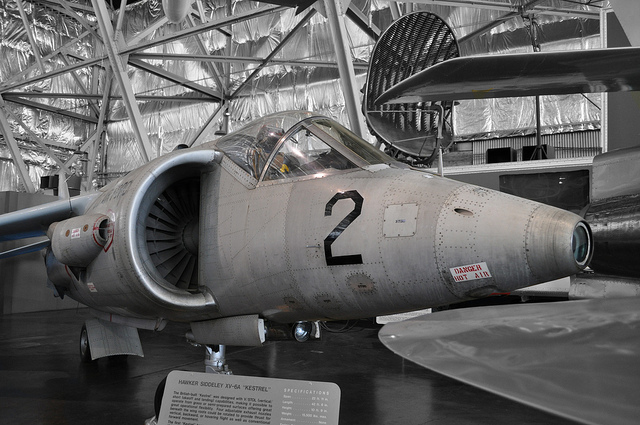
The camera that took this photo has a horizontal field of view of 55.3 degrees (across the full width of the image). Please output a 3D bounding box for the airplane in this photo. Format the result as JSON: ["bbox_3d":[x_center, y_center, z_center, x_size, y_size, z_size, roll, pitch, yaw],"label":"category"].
[{"bbox_3d":[-0.398,0.268,8.298,5.888,1.862,5.965,1,2,36],"label":"airplane"}]
